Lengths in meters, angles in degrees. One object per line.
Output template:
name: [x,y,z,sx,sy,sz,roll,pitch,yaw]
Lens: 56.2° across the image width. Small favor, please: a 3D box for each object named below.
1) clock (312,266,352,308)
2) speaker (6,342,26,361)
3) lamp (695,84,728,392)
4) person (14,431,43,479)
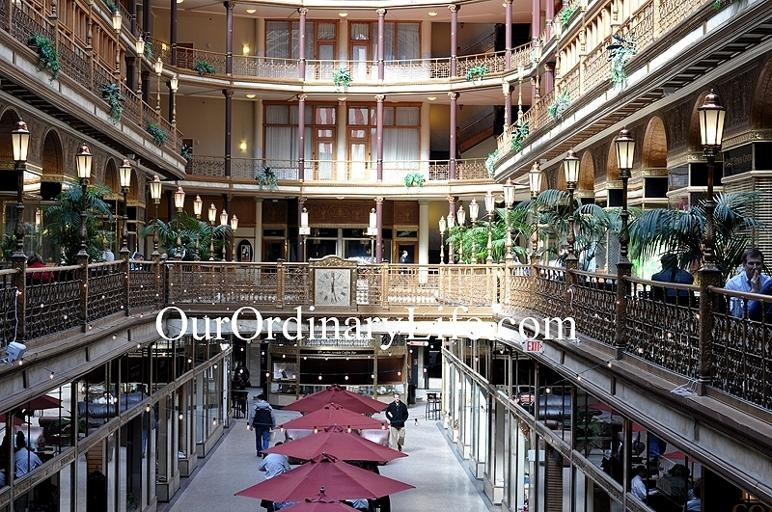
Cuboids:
clock: [-1.563,0.876,19.838,1.047,1.138,0.108,1,-3,-7]
speaker: [-5.055,1.301,9.863,0.151,0.267,0.158,29,-9,-13]
lamp: [3.946,-0.202,8.843,0.268,3.633,0.883,0,0,25]
person: [-5.708,3.082,11.494,0.163,0.703,0.935,0,0,-12]
